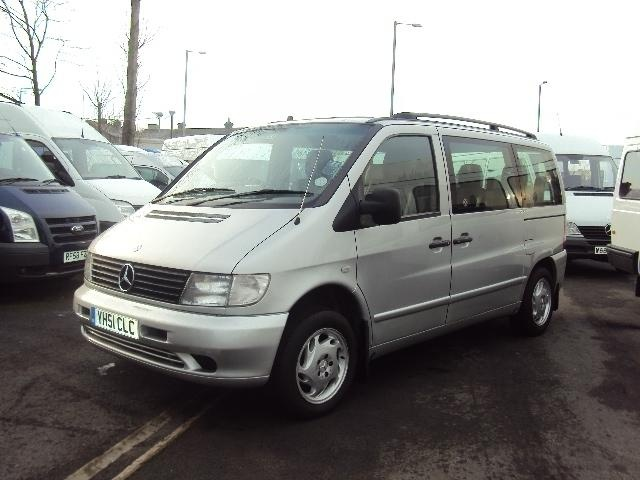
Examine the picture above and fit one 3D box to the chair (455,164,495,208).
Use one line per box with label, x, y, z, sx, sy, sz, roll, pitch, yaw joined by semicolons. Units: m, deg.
chair;1.671;-0.577;4.840;0.361;0.485;0.470;0;1;23
